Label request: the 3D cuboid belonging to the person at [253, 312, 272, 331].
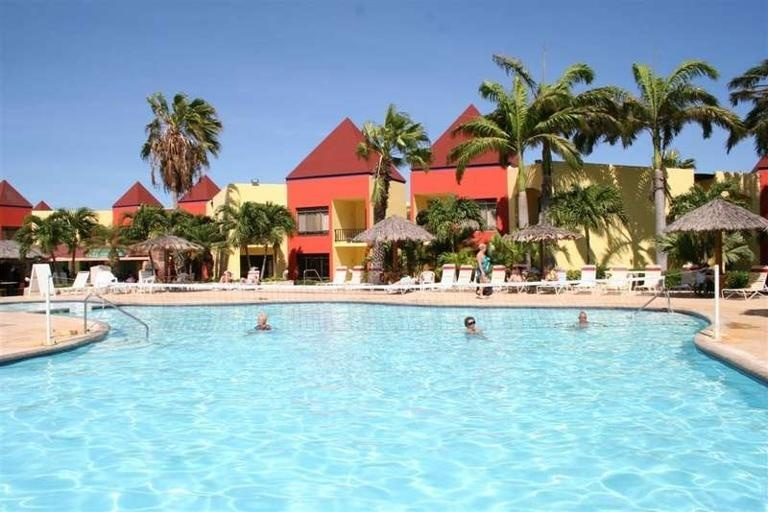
[{"bbox_3d":[-3.656,1.999,17.489,0.326,0.444,0.867,-2,-3,-9],"label":"person"}]
